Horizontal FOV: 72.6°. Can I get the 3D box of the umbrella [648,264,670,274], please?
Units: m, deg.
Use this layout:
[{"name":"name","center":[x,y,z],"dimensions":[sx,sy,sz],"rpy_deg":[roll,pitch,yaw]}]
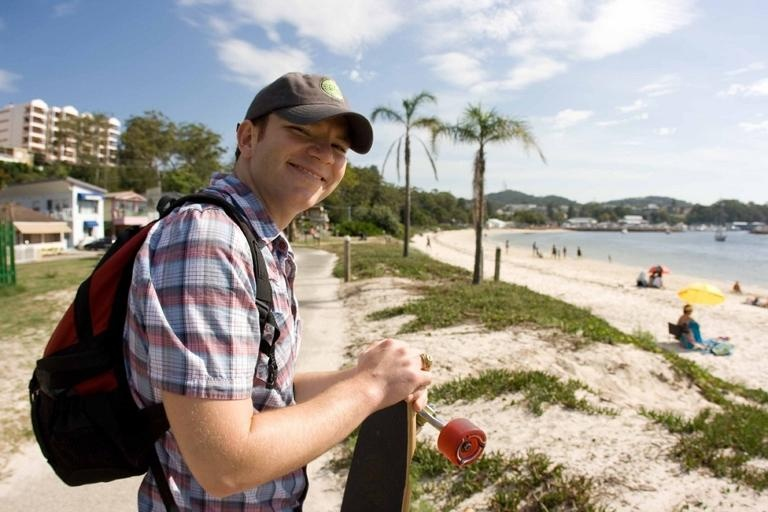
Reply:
[{"name":"umbrella","center":[14.508,0.739,28.013],"dimensions":[0.771,0.414,1.551],"rpy_deg":[2,8,33]}]
